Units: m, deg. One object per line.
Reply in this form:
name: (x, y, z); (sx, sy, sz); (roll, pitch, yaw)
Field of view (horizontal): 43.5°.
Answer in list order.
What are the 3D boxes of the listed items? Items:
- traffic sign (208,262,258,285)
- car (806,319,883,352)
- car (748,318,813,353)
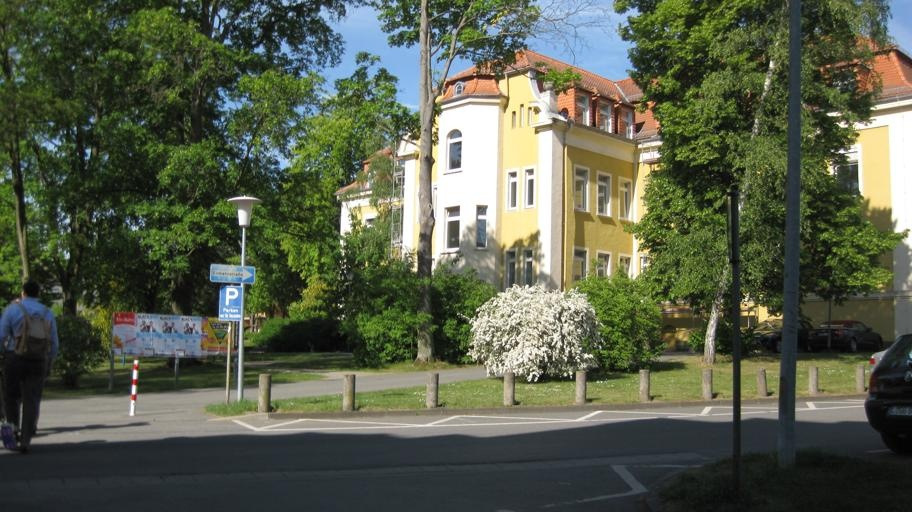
traffic sign: (-9.461, 0.711, 48.014); (1.680, 0.961, 1.599); (2, -10, -15)
car: (23.227, 4.667, 67.465); (4.110, 1.324, 1.823); (1, -3, -34)
car: (16.674, 4.138, 58.833); (4.538, 1.904, 2.107); (8, -12, -33)
